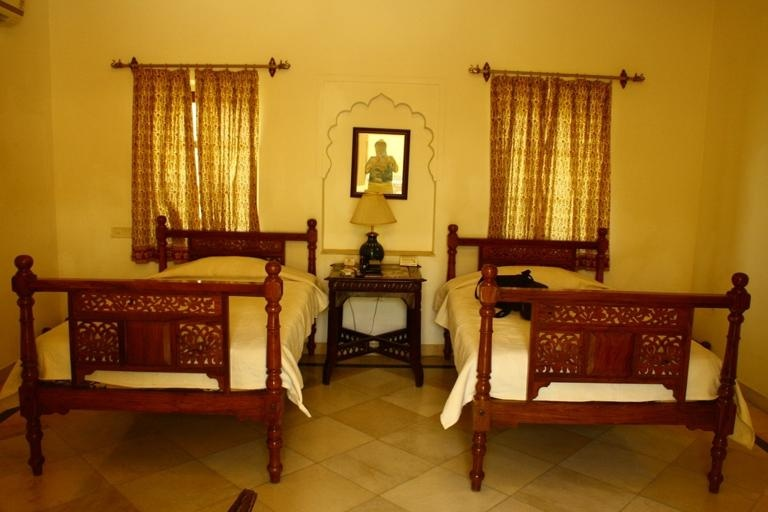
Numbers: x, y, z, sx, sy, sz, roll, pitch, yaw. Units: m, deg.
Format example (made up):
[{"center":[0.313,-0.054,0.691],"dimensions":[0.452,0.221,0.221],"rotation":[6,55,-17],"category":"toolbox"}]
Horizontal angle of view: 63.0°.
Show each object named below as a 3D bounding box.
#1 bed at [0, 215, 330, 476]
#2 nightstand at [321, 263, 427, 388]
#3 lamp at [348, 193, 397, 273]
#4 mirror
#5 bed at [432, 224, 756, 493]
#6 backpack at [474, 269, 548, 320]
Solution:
[{"center":[-1.662,0.508,5.673],"dimensions":[1.986,1.591,2.540],"rotation":[0,5,1],"category":"bed"},{"center":[-0.096,0.660,6.429],"dimensions":[1.190,0.979,1.101],"rotation":[0,5,-12],"category":"nightstand"},{"center":[-0.113,-0.250,6.300],"dimensions":[0.427,0.762,0.630],"rotation":[0,10,-3],"category":"lamp"},{"center":[-0.059,-0.997,6.499],"dimensions":[0.804,0.930,0.035],"rotation":[1,3,-5],"category":"mirror"},{"center":[1.714,0.658,5.944],"dimensions":[1.842,1.747,2.799],"rotation":[0,11,0],"category":"bed"},{"center":[1.129,0.329,5.554],"dimensions":[0.514,0.464,0.218],"rotation":[2,-32,-3],"category":"backpack"}]
